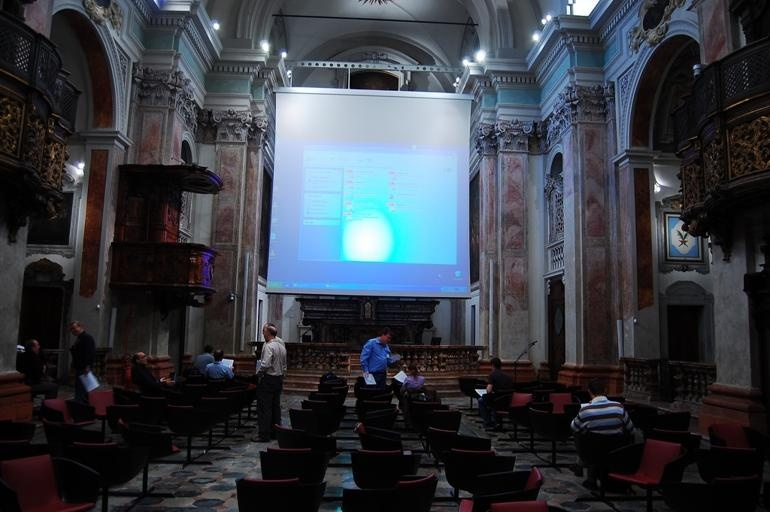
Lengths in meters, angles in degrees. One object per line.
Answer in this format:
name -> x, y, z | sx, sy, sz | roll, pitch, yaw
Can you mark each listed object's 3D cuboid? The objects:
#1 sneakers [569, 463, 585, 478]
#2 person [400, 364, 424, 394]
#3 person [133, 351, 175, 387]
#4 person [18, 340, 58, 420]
sneakers -> 3.000, 3.352, 9.234 | 0.125, 0.225, 0.330 | 1, 4, -7
person -> 0.565, 2.463, 11.646 | 0.578, 0.817, 0.490 | 1, -3, 6
person -> -4.511, 2.260, 11.324 | 0.738, 0.832, 0.526 | -5, 0, -25
person -> -7.162, 2.525, 12.098 | 0.634, 1.531, 0.751 | -8, -11, 39
